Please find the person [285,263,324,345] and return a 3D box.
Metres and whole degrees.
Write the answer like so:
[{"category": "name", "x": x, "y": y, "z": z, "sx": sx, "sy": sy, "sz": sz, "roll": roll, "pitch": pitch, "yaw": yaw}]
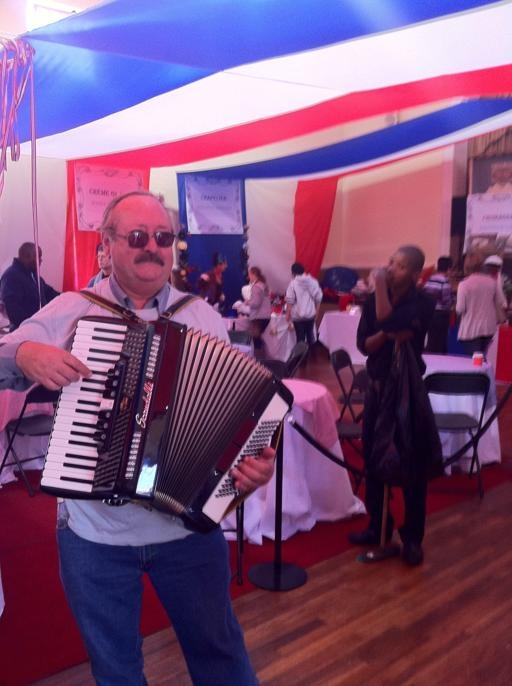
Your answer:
[{"category": "person", "x": 0.622, "y": -0.429, "z": 7.159, "sx": 0.445, "sy": 1.297, "sz": 0.364, "roll": -8, "pitch": 29, "yaw": -8}]
